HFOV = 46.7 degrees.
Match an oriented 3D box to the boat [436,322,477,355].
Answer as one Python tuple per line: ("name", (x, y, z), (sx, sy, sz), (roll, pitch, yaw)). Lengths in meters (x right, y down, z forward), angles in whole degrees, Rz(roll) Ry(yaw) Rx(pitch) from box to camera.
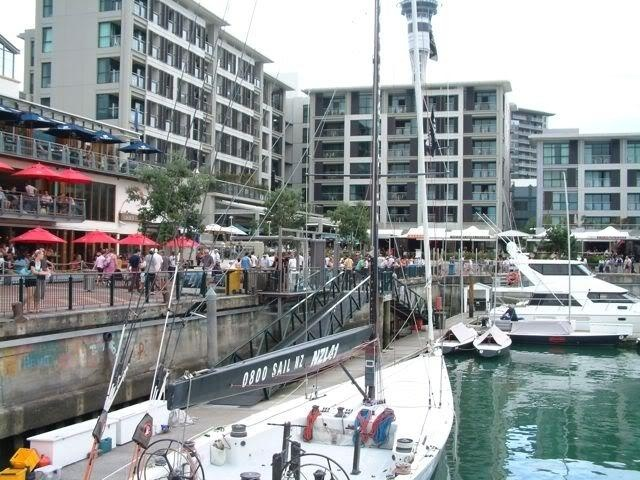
("boat", (7.353, 5.221, 39.495), (1.590, 1.357, 3.316), (0, 2, 22))

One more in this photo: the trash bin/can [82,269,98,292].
("trash bin/can", (-8.423, 1.477, 27.095), (0.476, 1.054, 0.521), (1, 1, 1))

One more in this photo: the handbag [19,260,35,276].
("handbag", (-11.032, 1.028, 27.809), (0.277, 0.555, 0.460), (0, 1, 18))

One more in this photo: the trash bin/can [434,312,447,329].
("trash bin/can", (7.065, 4.674, 43.814), (0.897, 1.089, 0.906), (-1, -2, -39))

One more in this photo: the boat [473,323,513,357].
("boat", (9.113, 5.397, 39.384), (1.472, 1.453, 2.379), (-2, -4, 41))
